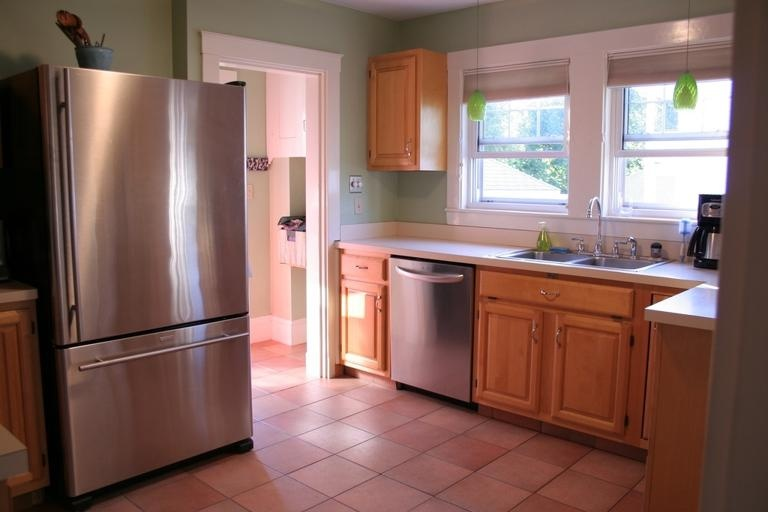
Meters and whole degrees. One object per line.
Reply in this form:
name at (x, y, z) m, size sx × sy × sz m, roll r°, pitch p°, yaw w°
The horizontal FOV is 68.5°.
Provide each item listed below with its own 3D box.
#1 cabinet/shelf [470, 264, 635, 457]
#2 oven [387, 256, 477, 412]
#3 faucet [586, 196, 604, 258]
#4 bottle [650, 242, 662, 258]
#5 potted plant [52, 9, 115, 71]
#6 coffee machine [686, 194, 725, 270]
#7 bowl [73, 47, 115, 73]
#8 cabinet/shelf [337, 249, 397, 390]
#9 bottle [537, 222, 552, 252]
cabinet/shelf at (1.118, 0.552, 3.496) m, size 0.534 × 0.908 × 1.026 m, roll -4°, pitch 7°, yaw -44°
oven at (0.471, 0.457, 4.018) m, size 0.729 × 0.891 × 0.648 m, roll 3°, pitch 8°, yaw 29°
faucet at (1.382, -0.201, 3.703) m, size 0.113 × 0.373 × 0.201 m, roll 4°, pitch 11°, yaw 19°
bottle at (1.693, -0.042, 3.508) m, size 0.069 × 0.094 × 0.051 m, roll 5°, pitch 11°, yaw 24°
potted plant at (-1.499, -1.032, 2.806) m, size 0.154 × 0.245 × 0.253 m, roll 21°, pitch 8°, yaw 32°
coffee machine at (1.796, -0.141, 3.163) m, size 0.141 × 0.410 × 0.237 m, roll 5°, pitch 11°, yaw 24°
bowl at (-1.435, -0.978, 2.783) m, size 0.139 × 0.101 × 0.143 m, roll 0°, pitch 5°, yaw 0°
cabinet/shelf at (-0.030, 0.403, 4.331) m, size 0.512 × 0.938 × 0.536 m, roll -5°, pitch 7°, yaw -42°
bottle at (1.106, -0.140, 3.898) m, size 0.103 × 0.190 × 0.163 m, roll 3°, pitch 10°, yaw 15°
